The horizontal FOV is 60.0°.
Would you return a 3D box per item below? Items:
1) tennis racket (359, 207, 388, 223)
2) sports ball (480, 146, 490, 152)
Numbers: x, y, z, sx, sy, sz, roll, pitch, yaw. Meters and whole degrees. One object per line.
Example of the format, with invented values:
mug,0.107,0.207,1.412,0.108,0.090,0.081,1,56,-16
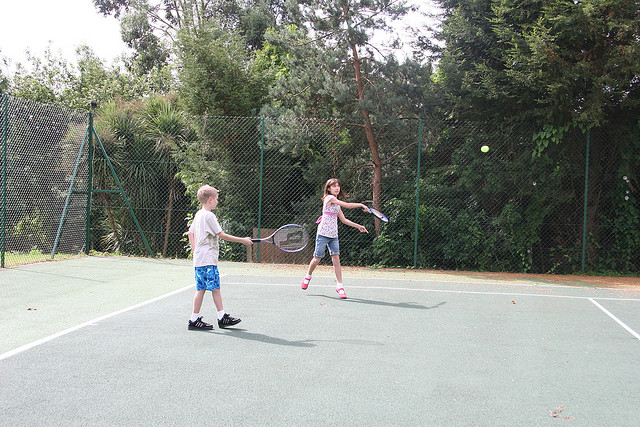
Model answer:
tennis racket,1.337,0.030,13.685,0.351,0.083,0.482,49,-15,-33
sports ball,4.214,-1.657,14.192,0.163,0.093,0.166,-2,5,0
